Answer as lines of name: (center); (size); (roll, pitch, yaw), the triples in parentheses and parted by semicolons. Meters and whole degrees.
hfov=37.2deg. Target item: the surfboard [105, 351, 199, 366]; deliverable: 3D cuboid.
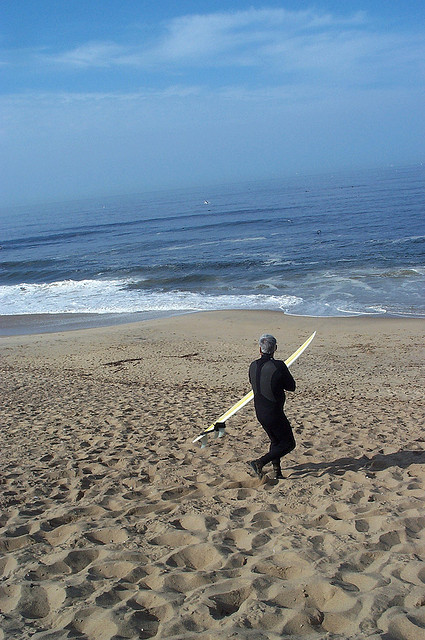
surfboard: (-1.395, 0.892, 14.786); (2.328, 0.028, 0.752); (-4, 7, -21)

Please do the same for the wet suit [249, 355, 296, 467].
wet suit: (0.523, 0.804, 5.480); (0.370, 1.033, 0.317); (-1, 8, 2)
